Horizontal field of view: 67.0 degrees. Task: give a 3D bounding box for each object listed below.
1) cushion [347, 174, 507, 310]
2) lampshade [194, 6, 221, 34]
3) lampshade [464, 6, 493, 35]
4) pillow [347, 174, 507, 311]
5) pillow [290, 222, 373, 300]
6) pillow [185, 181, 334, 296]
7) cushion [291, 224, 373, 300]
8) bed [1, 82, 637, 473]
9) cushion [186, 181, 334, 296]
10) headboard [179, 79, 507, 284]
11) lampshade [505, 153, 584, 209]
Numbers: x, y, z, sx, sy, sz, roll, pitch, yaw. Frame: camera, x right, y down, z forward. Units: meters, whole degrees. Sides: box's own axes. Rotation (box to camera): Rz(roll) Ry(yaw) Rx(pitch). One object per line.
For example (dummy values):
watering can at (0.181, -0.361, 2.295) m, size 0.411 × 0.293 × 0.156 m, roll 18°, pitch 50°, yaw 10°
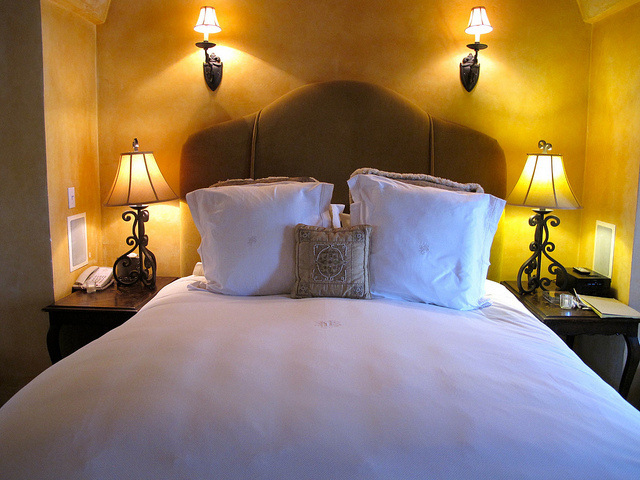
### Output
cushion at (0.517, 0.016, 2.464) m, size 0.553 × 0.541 × 0.216 m, roll 5°, pitch -8°, yaw 4°
lampshade at (-0.696, -1.349, 2.972) m, size 0.142 × 0.127 × 0.164 m, roll -1°, pitch 10°, yaw -9°
lampshade at (0.967, -1.336, 2.944) m, size 0.147 × 0.174 × 0.148 m, roll -15°, pitch 23°, yaw -30°
pillow at (0.517, 0.017, 2.463) m, size 0.568 × 0.544 × 0.222 m, roll 4°, pitch -4°, yaw 7°
pillow at (0.069, 0.114, 2.423) m, size 0.305 × 0.348 × 0.103 m, roll 1°, pitch -7°, yaw 5°
pillow at (-0.331, -0.015, 2.668) m, size 0.725 × 0.681 × 0.330 m, roll -3°, pitch 2°, yaw -11°
cushion at (0.071, 0.115, 2.421) m, size 0.292 × 0.334 × 0.104 m, roll 1°, pitch -8°, yaw 10°
bed at (0.098, 0.385, 2.604) m, size 1.705 × 1.483 × 2.310 m, roll 2°, pitch 8°, yaw 4°
cushion at (-0.320, -0.001, 2.677) m, size 0.781 × 0.712 × 0.361 m, roll -3°, pitch -6°, yaw -5°
headboard at (0.151, -0.303, 3.046) m, size 2.012 × 1.648 × 0.203 m, roll 1°, pitch -29°, yaw 0°
lampshade at (1.352, -0.331, 2.887) m, size 0.325 × 0.271 × 0.354 m, roll 6°, pitch 10°, yaw 27°
